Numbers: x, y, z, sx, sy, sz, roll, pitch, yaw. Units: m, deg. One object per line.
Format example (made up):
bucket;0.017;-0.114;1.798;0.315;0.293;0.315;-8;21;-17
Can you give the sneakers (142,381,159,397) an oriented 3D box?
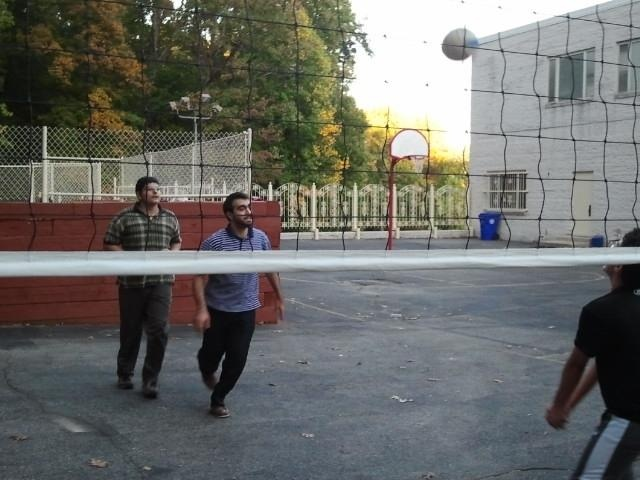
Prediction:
sneakers;-1.548;1.369;6.212;0.163;0.154;0.097;-2;-9;15

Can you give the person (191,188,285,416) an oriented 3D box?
person;-0.736;0.535;5.937;0.738;1.898;0.695;0;6;-7

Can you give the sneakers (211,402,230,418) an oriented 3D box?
sneakers;-0.863;1.450;5.824;0.183;0.098;0.170;1;5;-1

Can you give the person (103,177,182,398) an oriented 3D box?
person;-1.687;0.403;6.484;0.713;2.023;0.837;-1;6;-13

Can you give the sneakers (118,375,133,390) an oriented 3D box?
sneakers;-1.873;1.351;6.538;0.145;0.105;0.227;-1;6;-17

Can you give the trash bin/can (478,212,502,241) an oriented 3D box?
trash bin/can;6.058;-0.500;24.051;1.017;1.121;0.969;1;-4;-10
